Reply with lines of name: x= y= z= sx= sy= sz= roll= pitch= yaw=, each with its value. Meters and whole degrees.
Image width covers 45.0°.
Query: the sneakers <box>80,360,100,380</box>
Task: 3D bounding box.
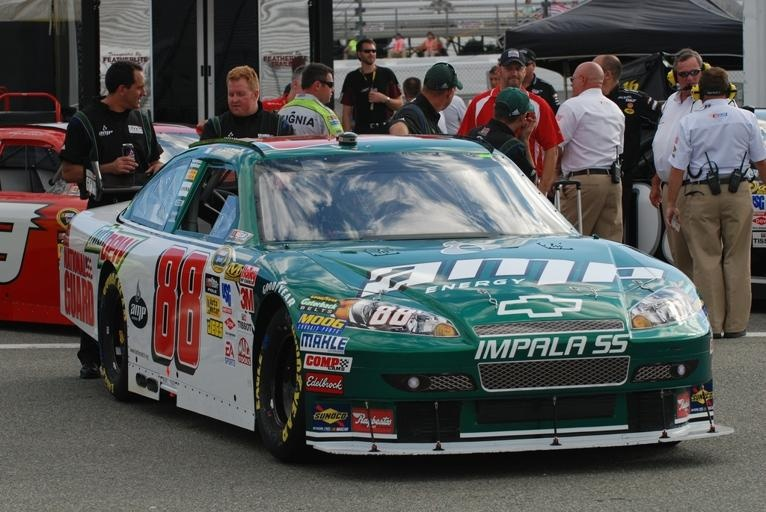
sneakers: x=-2.531 y=0.963 z=8.073 sx=0.162 sy=0.144 sz=0.145 roll=0 pitch=4 yaw=-41

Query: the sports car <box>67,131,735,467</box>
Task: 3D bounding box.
sports car: x=-0.438 y=0.202 z=6.288 sx=2.082 sy=1.290 sz=3.645 roll=0 pitch=2 yaw=-29

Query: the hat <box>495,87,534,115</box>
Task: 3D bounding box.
hat: x=1.215 y=-1.430 z=8.709 sx=0.361 sy=0.273 sz=0.242 roll=-2 pitch=5 yaw=-6

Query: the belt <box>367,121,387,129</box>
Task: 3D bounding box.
belt: x=-0.081 y=-1.954 z=13.999 sx=0.270 sy=0.094 sz=0.190 roll=-1 pitch=48 yaw=7

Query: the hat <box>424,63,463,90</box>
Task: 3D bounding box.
hat: x=0.574 y=-1.746 z=9.108 sx=0.270 sy=0.286 sz=0.430 roll=1 pitch=6 yaw=24

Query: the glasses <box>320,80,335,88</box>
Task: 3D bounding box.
glasses: x=-0.582 y=-1.825 z=9.878 sx=0.111 sy=0.033 sz=0.105 roll=8 pitch=5 yaw=4
